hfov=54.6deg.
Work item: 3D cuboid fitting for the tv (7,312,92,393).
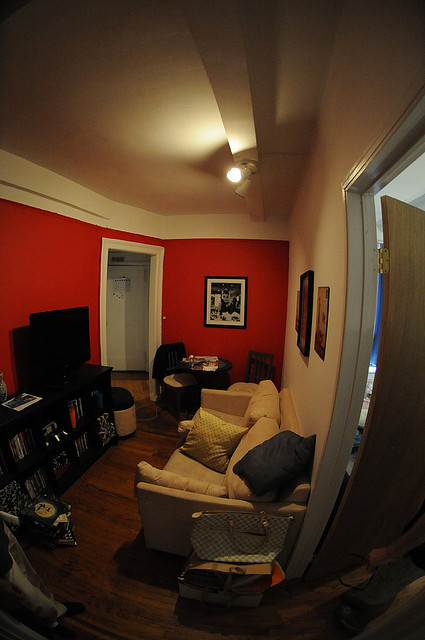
[{"bbox_3d":[-1.159,0.229,2.867,0.280,0.509,0.561,1,7,14],"label":"tv"}]

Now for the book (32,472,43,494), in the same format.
[{"bbox_3d":[-1.163,1.080,2.737,0.038,0.159,0.104,-17,0,-31],"label":"book"}]

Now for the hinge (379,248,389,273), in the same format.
[{"bbox_3d":[0.660,-0.228,1.577,0.018,0.081,0.071,3,-4,11],"label":"hinge"}]

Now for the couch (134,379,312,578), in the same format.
[{"bbox_3d":[0.113,0.927,2.843,0.859,0.688,1.471,8,14,11],"label":"couch"}]

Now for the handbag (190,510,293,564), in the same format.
[{"bbox_3d":[0.133,1.050,2.004,0.283,0.172,0.084,3,-9,4],"label":"handbag"}]

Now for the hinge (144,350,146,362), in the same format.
[{"bbox_3d":[-0.962,0.517,5.862,0.020,0.154,0.019,2,11,-1],"label":"hinge"}]

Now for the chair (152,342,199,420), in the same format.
[{"bbox_3d":[-0.380,0.646,4.668,0.547,0.739,0.585,4,11,14],"label":"chair"}]

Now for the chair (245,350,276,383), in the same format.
[{"bbox_3d":[0.524,0.544,4.534,0.315,0.387,0.182,10,14,33],"label":"chair"}]

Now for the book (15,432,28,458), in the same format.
[{"bbox_3d":[-1.201,0.785,2.592,0.106,0.116,0.027,19,25,35],"label":"book"}]

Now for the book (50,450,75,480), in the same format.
[{"bbox_3d":[-1.100,1.050,3.013,0.039,0.157,0.155,-17,45,-28],"label":"book"}]

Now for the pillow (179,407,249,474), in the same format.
[{"bbox_3d":[0.004,0.778,2.838,0.144,0.506,0.471,6,24,-47],"label":"pillow"}]

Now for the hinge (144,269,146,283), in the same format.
[{"bbox_3d":[-0.927,-0.597,5.649,0.017,0.153,0.012,0,11,-12],"label":"hinge"}]

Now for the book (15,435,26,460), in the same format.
[{"bbox_3d":[-1.203,0.795,2.568,0.029,0.122,0.112,-19,28,-40],"label":"book"}]

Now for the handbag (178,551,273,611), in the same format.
[{"bbox_3d":[0.053,1.257,1.999,0.331,0.122,0.329,6,-2,13],"label":"handbag"}]

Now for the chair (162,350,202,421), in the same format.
[{"bbox_3d":[-0.333,0.659,4.402,0.363,0.626,0.357,11,11,39],"label":"chair"}]

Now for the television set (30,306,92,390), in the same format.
[{"bbox_3d":[-1.105,0.187,3.001,0.175,0.547,0.706,3,9,14],"label":"television set"}]

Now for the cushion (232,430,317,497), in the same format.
[{"bbox_3d":[0.317,0.793,2.241,0.466,0.110,0.497,-5,14,28],"label":"cushion"}]
